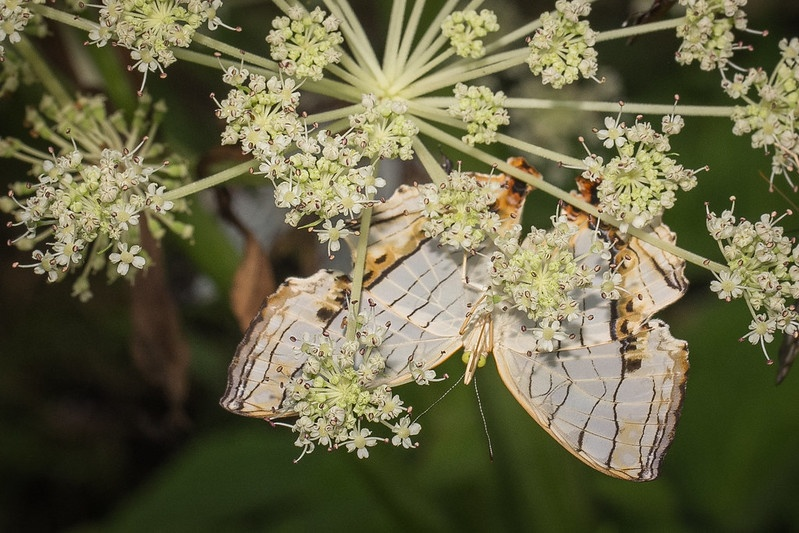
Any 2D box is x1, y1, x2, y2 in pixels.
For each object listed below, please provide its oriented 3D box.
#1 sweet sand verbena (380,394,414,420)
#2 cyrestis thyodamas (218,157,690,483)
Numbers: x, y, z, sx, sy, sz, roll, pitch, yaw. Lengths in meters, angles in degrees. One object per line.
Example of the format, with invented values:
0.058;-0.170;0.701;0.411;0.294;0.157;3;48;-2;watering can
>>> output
-0.041;0.749;4.202;0.165;0.066;0.179;-16;-69;-23;sweet sand verbena
0.300;0.279;4.486;2.257;0.628;1.762;10;-82;-1;cyrestis thyodamas
